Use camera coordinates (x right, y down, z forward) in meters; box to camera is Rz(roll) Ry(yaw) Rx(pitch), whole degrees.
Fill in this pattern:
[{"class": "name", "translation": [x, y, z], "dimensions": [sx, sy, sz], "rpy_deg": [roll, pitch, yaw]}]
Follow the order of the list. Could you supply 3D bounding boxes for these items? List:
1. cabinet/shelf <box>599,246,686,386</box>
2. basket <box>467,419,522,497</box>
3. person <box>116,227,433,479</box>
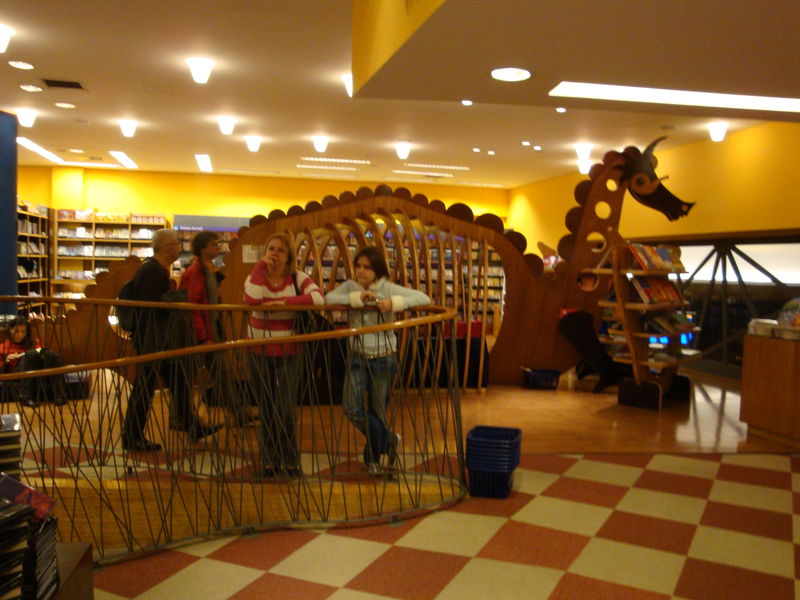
[{"class": "cabinet/shelf", "translation": [2.707, 0.167, 7.201], "dimensions": [0.721, 1.873, 1.553], "rpy_deg": [-2, -1, 30]}, {"class": "basket", "translation": [0.649, 1.129, 4.693], "dimensions": [0.421, 0.604, 0.401], "rpy_deg": [0, -3, 2]}, {"class": "person", "translation": [-1.013, 0.471, 5.266], "dimensions": [1.718, 1.612, 0.595], "rpy_deg": [0, -21, -2]}]
